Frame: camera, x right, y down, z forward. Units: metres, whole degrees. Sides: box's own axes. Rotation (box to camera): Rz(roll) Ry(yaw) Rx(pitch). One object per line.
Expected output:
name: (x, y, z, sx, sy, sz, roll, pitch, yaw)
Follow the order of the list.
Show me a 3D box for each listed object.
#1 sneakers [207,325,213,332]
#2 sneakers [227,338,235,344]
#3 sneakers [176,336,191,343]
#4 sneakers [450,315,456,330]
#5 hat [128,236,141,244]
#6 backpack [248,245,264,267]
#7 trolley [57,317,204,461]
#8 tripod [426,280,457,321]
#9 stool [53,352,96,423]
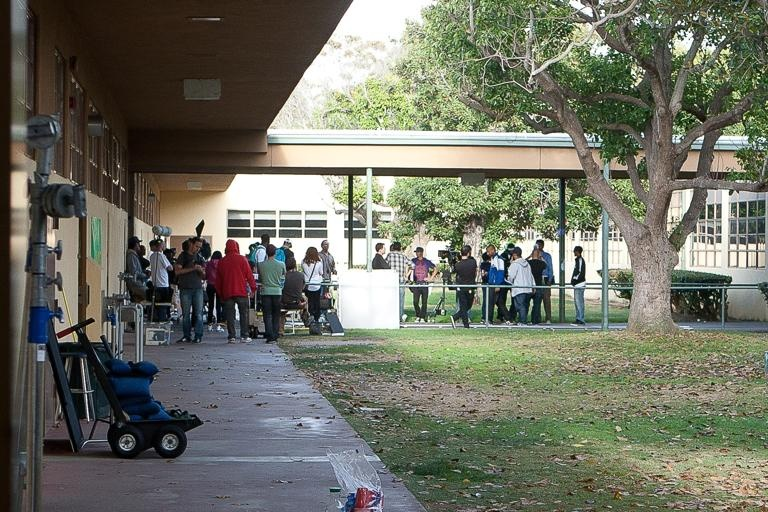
sneakers: (-4.298, 1.763, 22.165, 0.109, 0.096, 0.138, -4, -33, 2)
sneakers: (-3.147, 1.733, 18.565, 0.070, 0.085, 0.208, 0, -10, -18)
sneakers: (-4.124, 1.681, 18.389, 0.249, 0.107, 0.118, 2, -2, 21)
sneakers: (1.693, 1.637, 22.574, 0.112, 0.302, 0.100, -4, 10, 8)
hat: (-5.742, -0.360, 20.549, 0.230, 0.107, 0.325, 1, -1, -34)
backpack: (-3.236, -0.018, 22.691, 0.418, 0.457, 0.253, 22, -8, -5)
trolley: (-2.444, 1.213, 8.535, 1.376, 1.188, 0.846, 1, 2, -17)
tripod: (1.875, 1.335, 27.060, 1.212, 1.232, 1.214, 1, -3, -7)
stool: (-3.221, 1.313, 9.229, 0.497, 0.643, 0.516, 1, -6, 29)
